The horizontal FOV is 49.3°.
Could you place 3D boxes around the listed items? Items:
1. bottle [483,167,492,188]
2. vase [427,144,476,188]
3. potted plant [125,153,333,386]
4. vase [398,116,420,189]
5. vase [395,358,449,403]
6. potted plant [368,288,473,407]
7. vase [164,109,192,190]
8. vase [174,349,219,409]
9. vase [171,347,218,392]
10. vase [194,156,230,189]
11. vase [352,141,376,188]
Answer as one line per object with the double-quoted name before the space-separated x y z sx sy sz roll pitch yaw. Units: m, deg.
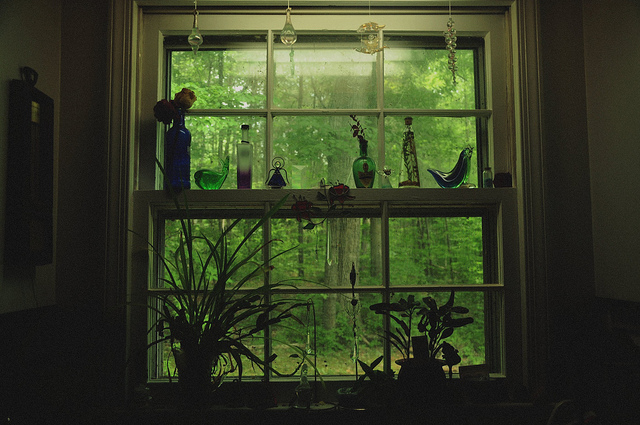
"bottle" 0.814 -0.171 3.393 0.043 0.094 0.055 2 2 12
"vase" 0.639 -0.225 3.395 0.228 0.246 0.122 -8 19 5
"potted plant" -0.408 0.302 3.619 0.966 1.199 1.022 0 -12 -8
"vase" 0.439 -0.277 3.407 0.097 0.300 0.079 2 2 16
"vase" 0.456 0.746 3.085 0.171 0.128 0.176 -14 -22 38
"potted plant" 0.455 0.639 3.346 0.438 0.552 0.477 4 -11 -14
"vase" -0.665 -0.301 3.323 0.145 0.380 0.122 0 2 -31
"vase" -0.498 0.739 3.160 0.214 0.307 0.250 -3 -12 13
"vase" -0.550 0.689 3.040 0.190 0.174 0.159 2 -17 -6
"vase" -0.528 -0.178 3.378 0.166 0.191 0.136 2 -8 1
"vase" 0.216 -0.222 3.396 0.122 0.243 0.123 5 -16 -28
